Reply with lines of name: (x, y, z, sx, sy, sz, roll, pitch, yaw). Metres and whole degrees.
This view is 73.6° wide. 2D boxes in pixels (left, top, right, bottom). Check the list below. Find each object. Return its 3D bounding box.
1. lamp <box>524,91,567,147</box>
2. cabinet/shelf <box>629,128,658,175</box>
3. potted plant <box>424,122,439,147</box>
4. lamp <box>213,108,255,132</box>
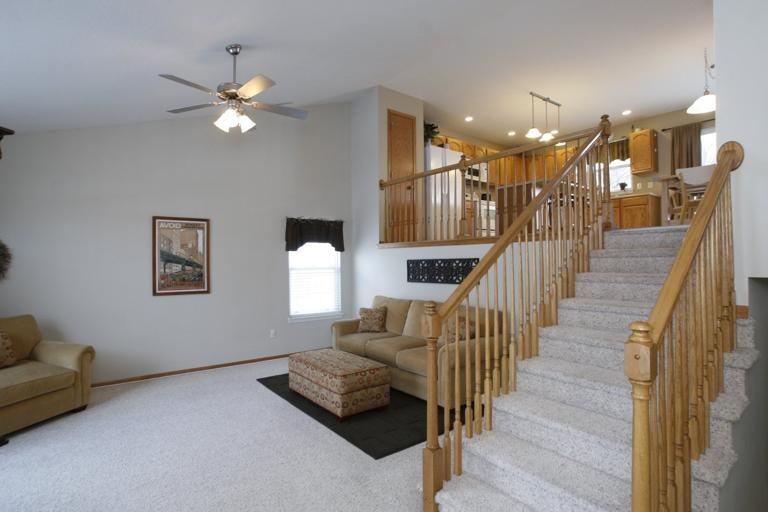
lamp: (2.921, -2.532, 9.285, 0.511, 1.046, 1.375, 7, 7, 42)
cabinet/shelf: (4.986, -1.997, 9.860, 0.493, 0.802, 0.313, 0, 3, 27)
potted plant: (0.923, -2.335, 9.797, 0.385, 0.409, 0.393, 7, 12, 15)
lamp: (-1.714, -1.544, 5.906, 0.379, 0.165, 0.377, -5, -9, 18)
